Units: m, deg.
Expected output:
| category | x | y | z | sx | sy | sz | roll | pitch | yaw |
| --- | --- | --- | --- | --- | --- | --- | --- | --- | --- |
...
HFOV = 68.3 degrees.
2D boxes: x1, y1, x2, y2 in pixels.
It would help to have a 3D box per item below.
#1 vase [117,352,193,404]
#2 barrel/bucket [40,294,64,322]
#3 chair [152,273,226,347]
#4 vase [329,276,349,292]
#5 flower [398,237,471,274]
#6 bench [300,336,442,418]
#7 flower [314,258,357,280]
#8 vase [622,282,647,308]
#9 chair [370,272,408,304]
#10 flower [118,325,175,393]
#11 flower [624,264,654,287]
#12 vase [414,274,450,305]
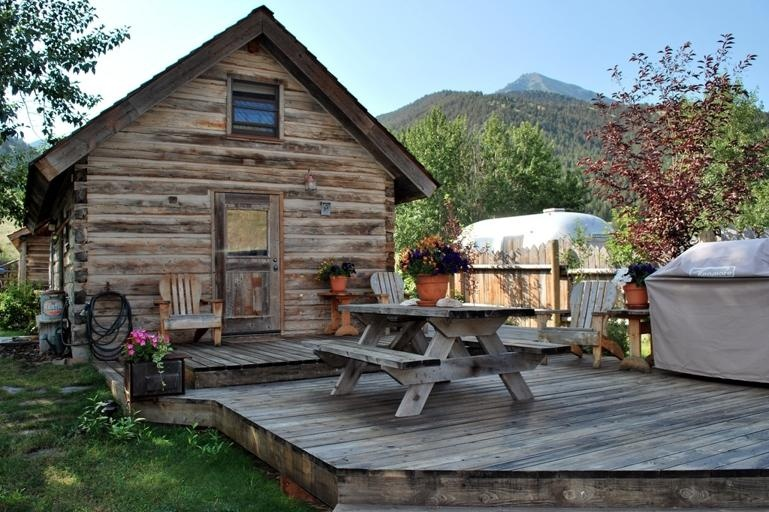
| category | x | y | z | sx | sy | sz | roll | pitch | yaw |
| --- | --- | --- | --- | --- | --- | --- | --- | --- | --- |
| vase | -2.739 | 1.425 | 6.835 | 0.667 | 0.450 | 0.559 | 1 | -1 | -34 |
| barrel/bucket | -5.853 | 0.922 | 10.083 | 0.464 | 0.459 | 0.452 | -1 | -4 | 0 |
| chair | -3.180 | 0.858 | 9.088 | 1.007 | 1.049 | 1.295 | 1 | 0 | -37 |
| vase | -0.788 | 0.500 | 10.159 | 0.301 | 0.203 | 0.292 | 2 | -4 | -17 |
| flower | 0.573 | -0.055 | 6.627 | 0.576 | 0.378 | 0.559 | 1 | -8 | 1 |
| bench | -0.077 | 1.318 | 6.326 | 0.626 | 0.758 | 1.562 | -13 | 13 | -38 |
| flower | -0.868 | 0.238 | 10.279 | 0.520 | 0.266 | 0.416 | -1 | 1 | 31 |
| vase | 3.557 | 0.569 | 8.133 | 0.369 | 0.320 | 0.355 | 0 | -4 | 0 |
| chair | 0.070 | 0.555 | 10.092 | 0.554 | 0.710 | 0.578 | -1 | 1 | -21 |
| flower | -2.830 | 1.245 | 7.033 | 0.691 | 0.906 | 0.787 | 4 | -6 | -20 |
| flower | 3.601 | 0.279 | 8.038 | 0.348 | 0.297 | 0.334 | -3 | -3 | 32 |
| vase | 0.557 | 0.395 | 6.407 | 0.370 | 0.260 | 0.356 | 2 | -7 | -8 |
